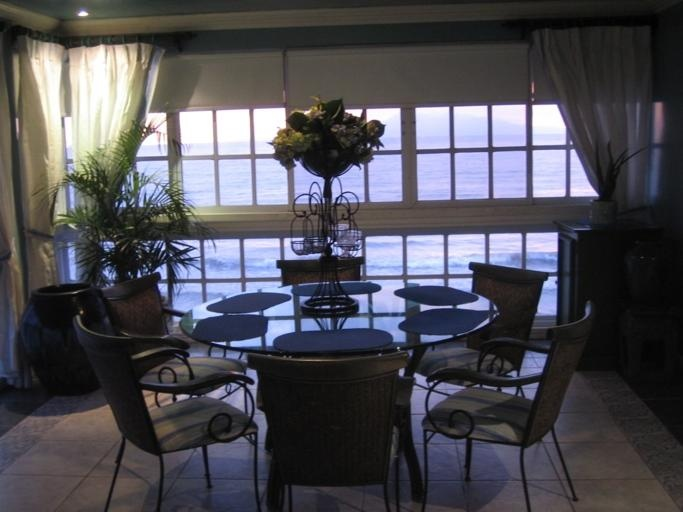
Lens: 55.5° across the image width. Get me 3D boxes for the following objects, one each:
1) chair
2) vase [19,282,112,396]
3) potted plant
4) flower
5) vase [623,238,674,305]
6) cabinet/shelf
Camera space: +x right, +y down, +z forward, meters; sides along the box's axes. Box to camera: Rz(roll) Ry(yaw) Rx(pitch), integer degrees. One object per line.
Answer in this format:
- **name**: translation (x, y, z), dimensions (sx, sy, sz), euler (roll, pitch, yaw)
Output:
- **chair**: translation (0.407, 0.749, 3.690), dimensions (1.869, 1.171, 1.205), euler (-4, 8, -8)
- **vase**: translation (-1.988, 0.551, 4.896), dimensions (0.695, 0.742, 0.660), euler (-6, 15, -40)
- **potted plant**: translation (2.090, -0.572, 5.000), dimensions (0.290, 0.618, 0.505), euler (5, 12, 42)
- **flower**: translation (-0.073, -0.652, 3.656), dimensions (0.469, 0.317, 0.463), euler (-3, 11, 15)
- **vase**: translation (2.203, 0.129, 4.678), dimensions (0.290, 0.474, 0.207), euler (0, 10, 20)
- **cabinet/shelf**: translation (2.028, 0.247, 5.606), dimensions (0.993, 1.593, 1.276), euler (1, 5, 14)
